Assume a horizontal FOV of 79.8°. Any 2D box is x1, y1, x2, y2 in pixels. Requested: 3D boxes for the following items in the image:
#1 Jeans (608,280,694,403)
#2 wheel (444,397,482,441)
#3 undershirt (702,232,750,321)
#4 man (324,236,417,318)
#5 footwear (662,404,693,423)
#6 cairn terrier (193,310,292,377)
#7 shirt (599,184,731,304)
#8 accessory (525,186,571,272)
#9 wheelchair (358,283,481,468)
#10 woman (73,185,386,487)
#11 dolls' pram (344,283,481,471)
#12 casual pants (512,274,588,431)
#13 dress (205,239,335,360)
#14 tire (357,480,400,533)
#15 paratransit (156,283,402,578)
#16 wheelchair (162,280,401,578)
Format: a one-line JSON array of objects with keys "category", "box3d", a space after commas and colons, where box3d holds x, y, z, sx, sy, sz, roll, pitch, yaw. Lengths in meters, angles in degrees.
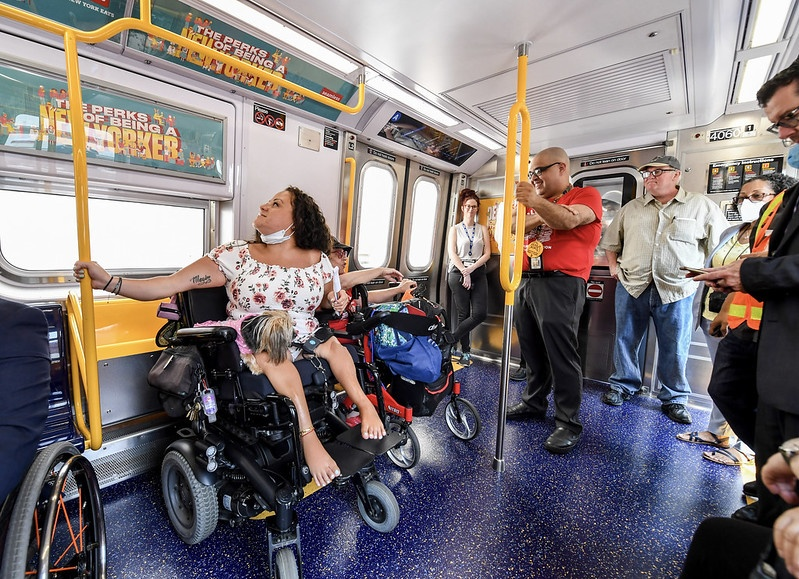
[{"category": "Jeans", "box3d": [2.439, 0.399, 4.723, 0.720, 1.752, 0.396, 7, 32, 34]}, {"category": "wheel", "box3d": [0.520, 1.115, 4.037, 0.072, 0.321, 0.292, 8, 10, -43]}, {"category": "undershirt", "box3d": [2.451, -0.149, 3.628, 0.184, 0.790, 0.429, 7, 3, 18]}, {"category": "man", "box3d": [-0.249, -0.149, 4.015, 0.850, 0.528, 0.643, 1, 12, -8]}, {"category": "footwear", "box3d": [2.577, 1.160, 4.438, 0.116, 0.125, 0.287, -2, -6, 0]}, {"category": "cairn terrier", "box3d": [-0.945, 0.265, 2.901, 0.534, 0.263, 0.294, 14, 22, 20]}, {"category": "shirt", "box3d": [2.461, -0.412, 4.376, 0.530, 1.067, 1.165, -4, 4, -42]}, {"category": "accessory", "box3d": [1.202, -0.487, 3.922, 0.405, 0.666, 0.164, -1, 4, 0]}, {"category": "wheelchair", "box3d": [0.005, 0.630, 3.785, 0.763, 1.124, 1.056, -10, 13, -43]}, {"category": "woman", "box3d": [-0.974, 0.070, 3.248, 1.775, 1.348, 1.833, 6, 19, -4]}, {"category": "dolls' pram", "box3d": [0.004, 0.655, 3.784, 1.039, 1.136, 1.107, -3, 5, 1]}, {"category": "casual pants", "box3d": [1.271, 0.506, 4.119, 0.426, 1.327, 0.603, 4, -3, -32]}, {"category": "dress", "box3d": [-0.852, 0.042, 3.358, 0.923, 0.761, 0.496, -4, 9, -28]}, {"category": "tire", "box3d": [-0.143, 1.373, 3.003, 0.311, 0.351, 0.121, 10, 18, 27]}, {"category": "paratransit", "box3d": [-0.768, 0.710, 3.456, 1.523, 1.846, 1.527, -2, 0, 37]}, {"category": "wheelchair", "box3d": [-0.720, 0.756, 3.519, 1.609, 1.979, 1.348, -5, -1, 38]}]
